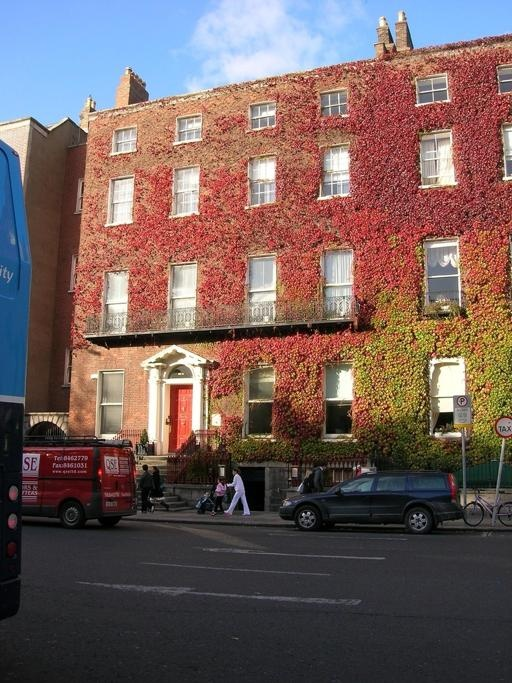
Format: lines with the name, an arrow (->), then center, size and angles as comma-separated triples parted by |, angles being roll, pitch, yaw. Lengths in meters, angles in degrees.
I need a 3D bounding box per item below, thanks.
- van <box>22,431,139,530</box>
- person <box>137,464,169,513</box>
van -> -5.053, 3.628, 18.434 | 3.512, 2.052, 1.944 | -5, -12, 25
person -> -3.242, 4.630, 22.655 | 0.808, 1.434, 1.761 | -1, -10, 6
